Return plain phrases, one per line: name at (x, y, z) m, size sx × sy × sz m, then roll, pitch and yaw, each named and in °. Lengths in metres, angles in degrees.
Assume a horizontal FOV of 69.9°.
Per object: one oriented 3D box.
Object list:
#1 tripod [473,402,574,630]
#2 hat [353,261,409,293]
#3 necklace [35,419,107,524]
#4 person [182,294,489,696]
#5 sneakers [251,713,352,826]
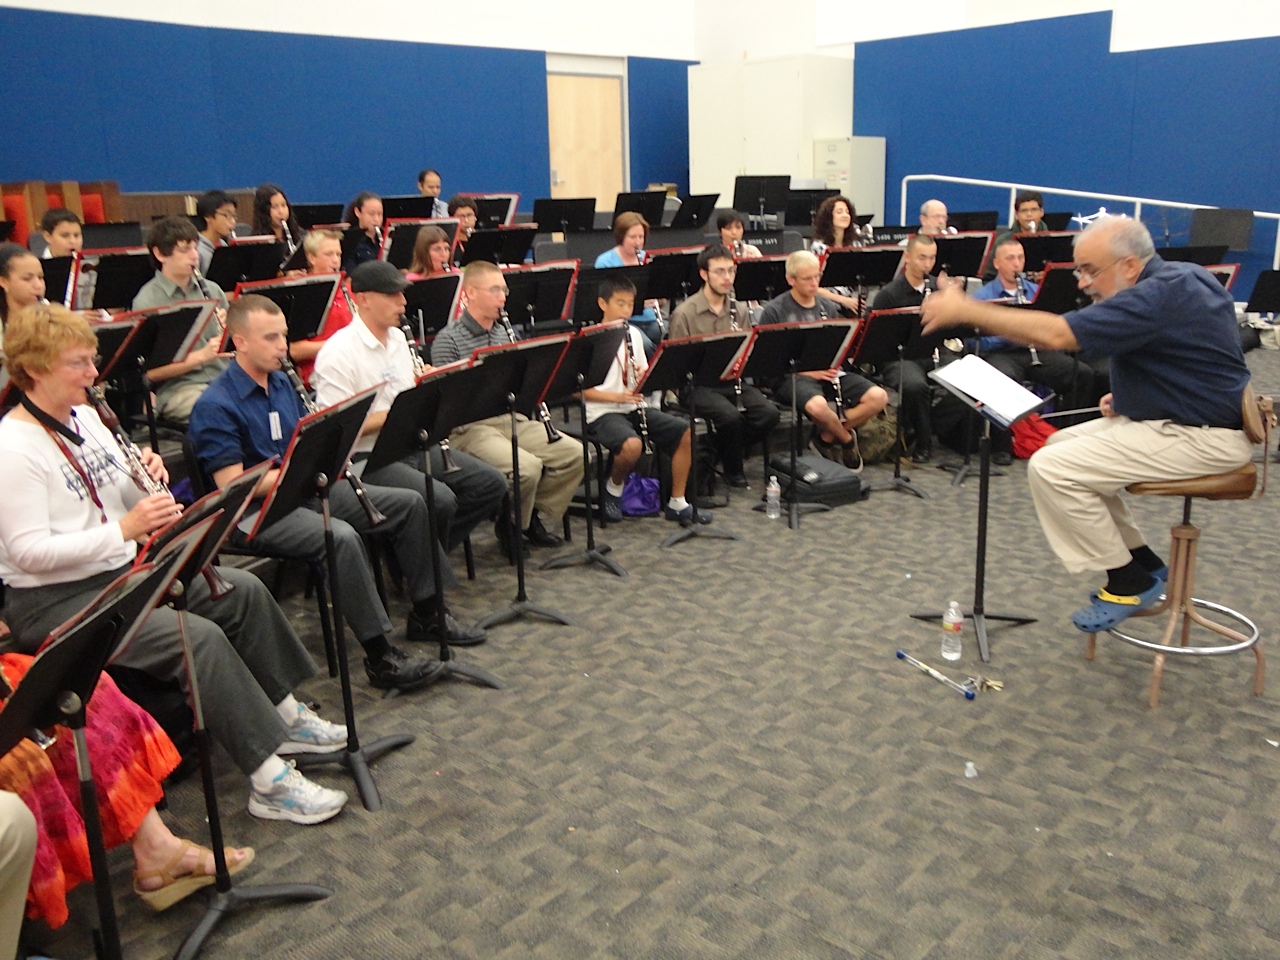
tripod at (-0.634, 0.146, 4.429) m, size 0.569 × 1.072 × 0.495 m, roll -6°, pitch 4°, yaw -34°
hat at (-1.191, -0.923, 4.229) m, size 0.213 × 0.097 × 0.147 m, roll -8°, pitch 21°, yaw -7°
necklace at (-1.851, -0.033, 2.994) m, size 0.008 × 0.265 × 0.091 m, roll 1°, pitch 34°, yaw 35°
person at (-1.307, 0.006, 3.955) m, size 1.200 × 1.476 × 0.737 m, roll 13°, pitch 22°, yaw 19°
sneakers at (-1.104, 1.082, 3.246) m, size 0.472 × 0.196 × 0.157 m, roll 5°, pitch 22°, yaw -7°
